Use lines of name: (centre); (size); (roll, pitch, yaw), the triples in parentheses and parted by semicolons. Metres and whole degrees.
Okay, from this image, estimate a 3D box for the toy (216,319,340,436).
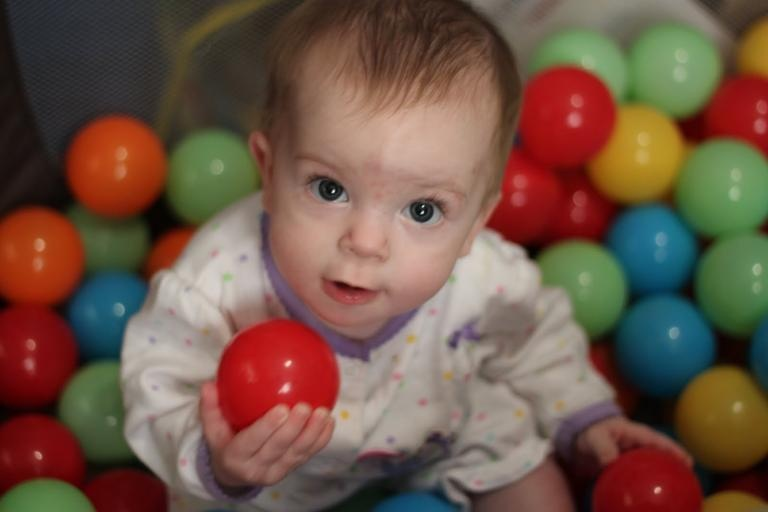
toy: (-0.218, 0.239, 1.537); (0.201, 0.203, 0.216); (3, 83, -24)
